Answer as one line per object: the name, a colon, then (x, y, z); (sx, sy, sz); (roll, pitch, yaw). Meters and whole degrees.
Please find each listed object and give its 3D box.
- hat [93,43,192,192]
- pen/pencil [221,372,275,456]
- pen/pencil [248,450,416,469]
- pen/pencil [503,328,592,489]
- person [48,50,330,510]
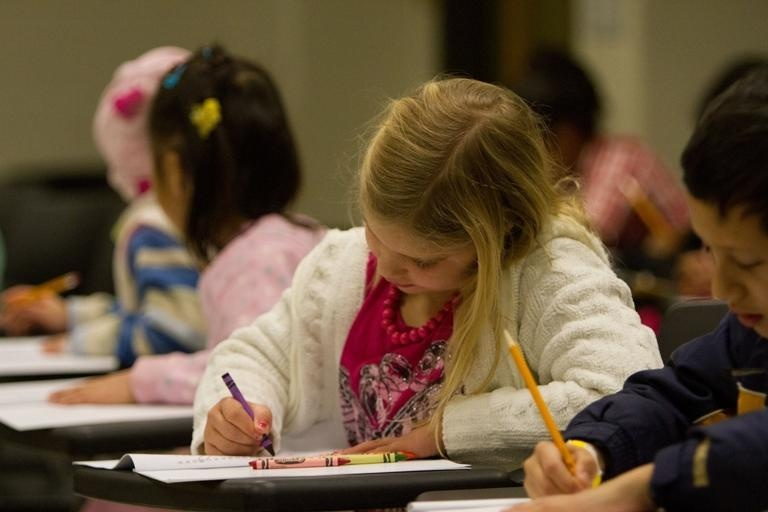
hat: (-0.707, -0.377, 2.314); (0.144, 0.384, 0.290); (14, 10, 36)
pen/pencil: (-0.268, 0.311, 1.604); (0.020, 0.020, 0.182); (-21, 62, -24)
pen/pencil: (-0.089, 0.367, 1.498); (0.191, 0.019, 0.019); (-2, 2, -8)
pen/pencil: (0.286, 0.271, 1.443); (0.023, 0.023, 0.308); (-21, 63, -15)
person: (-0.416, 0.017, 2.708); (0.959, 1.399, 0.933); (-1, -2, -2)
